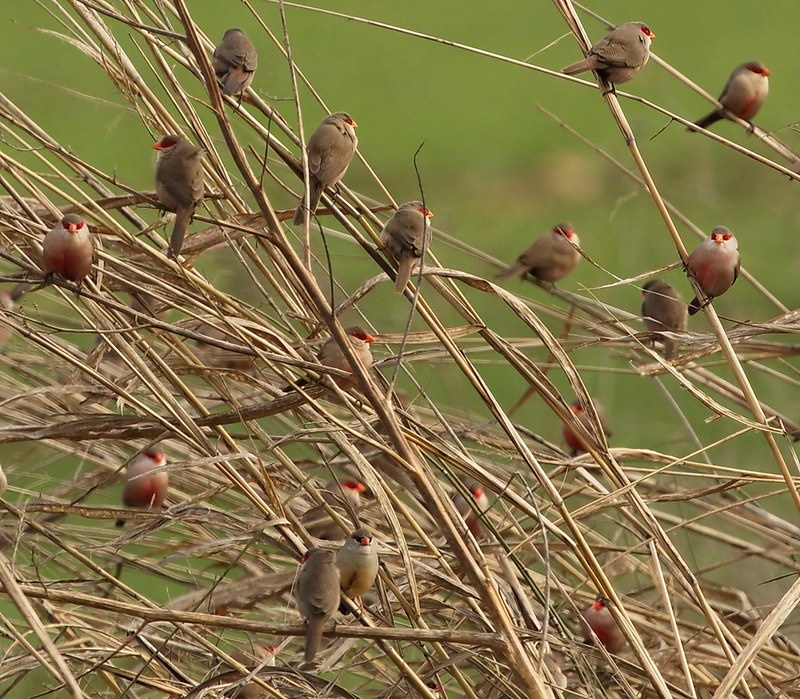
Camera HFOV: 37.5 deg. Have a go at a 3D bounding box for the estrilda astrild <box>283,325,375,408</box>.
[{"bbox_3d":[-0.246,0.041,4.576,0.398,0.241,0.214,-4,-1,34],"label":"estrilda astrild"}]

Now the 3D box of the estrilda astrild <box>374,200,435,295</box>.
[{"bbox_3d":[0.048,-0.378,4.307,0.150,0.405,0.164,30,-59,-12],"label":"estrilda astrild"}]

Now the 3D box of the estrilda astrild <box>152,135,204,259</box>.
[{"bbox_3d":[-0.786,-0.563,4.226,0.183,0.511,0.238,8,-46,-18],"label":"estrilda astrild"}]

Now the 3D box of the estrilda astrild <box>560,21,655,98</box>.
[{"bbox_3d":[0.799,-1.127,4.503,0.177,0.264,0.515,20,19,36],"label":"estrilda astrild"}]

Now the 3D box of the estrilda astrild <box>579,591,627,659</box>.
[{"bbox_3d":[0.830,1.108,4.792,0.159,0.233,0.339,-3,-27,10],"label":"estrilda astrild"}]

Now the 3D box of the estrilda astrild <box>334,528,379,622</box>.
[{"bbox_3d":[-0.143,0.732,3.947,0.144,0.257,0.285,13,-12,-4],"label":"estrilda astrild"}]

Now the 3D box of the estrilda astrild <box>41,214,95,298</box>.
[{"bbox_3d":[-1.151,-0.344,4.088,0.193,0.229,0.336,8,4,-13],"label":"estrilda astrild"}]

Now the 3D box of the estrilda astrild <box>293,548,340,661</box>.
[{"bbox_3d":[-0.271,0.798,3.727,0.131,0.369,0.160,14,-38,-10],"label":"estrilda astrild"}]

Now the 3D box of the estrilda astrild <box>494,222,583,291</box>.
[{"bbox_3d":[0.746,-0.501,6.223,0.483,0.302,0.259,-12,22,-21],"label":"estrilda astrild"}]

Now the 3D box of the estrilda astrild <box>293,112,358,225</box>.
[{"bbox_3d":[-0.276,-0.758,4.669,0.194,0.614,0.233,6,-30,-5],"label":"estrilda astrild"}]

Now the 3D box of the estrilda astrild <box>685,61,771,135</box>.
[{"bbox_3d":[1.546,-1.154,5.382,0.190,0.281,0.502,6,3,-16],"label":"estrilda astrild"}]
